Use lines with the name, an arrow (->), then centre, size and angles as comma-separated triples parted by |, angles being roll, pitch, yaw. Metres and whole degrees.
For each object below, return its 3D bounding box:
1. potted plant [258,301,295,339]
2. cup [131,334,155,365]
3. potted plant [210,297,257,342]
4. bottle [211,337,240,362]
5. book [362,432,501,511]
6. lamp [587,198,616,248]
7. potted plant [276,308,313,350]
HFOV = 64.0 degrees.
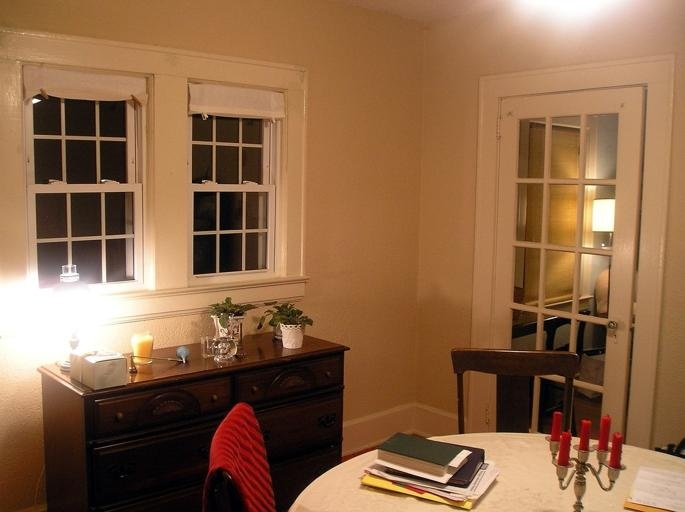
potted plant -> -0.447, 0.387, 3.543 | 0.225, 0.174, 0.229 | 5, 6, 44
cup -> -1.109, 0.510, 3.023 | 0.139, 0.156, 0.131 | 1, 3, 0
potted plant -> -0.686, 0.373, 3.384 | 0.219, 0.283, 0.279 | -2, 4, -44
bottle -> -0.671, 0.529, 3.088 | 0.138, 0.109, 0.109 | 1, 0, -16
book -> 0.334, 0.790, 1.977 | 0.524, 0.126, 0.279 | -2, 3, -9
lamp -> 1.709, -0.219, 3.605 | 0.035, 0.324, 0.139 | -4, 5, -37
potted plant -> -0.295, 0.444, 3.455 | 0.222, 0.215, 0.230 | 0, 4, 9
